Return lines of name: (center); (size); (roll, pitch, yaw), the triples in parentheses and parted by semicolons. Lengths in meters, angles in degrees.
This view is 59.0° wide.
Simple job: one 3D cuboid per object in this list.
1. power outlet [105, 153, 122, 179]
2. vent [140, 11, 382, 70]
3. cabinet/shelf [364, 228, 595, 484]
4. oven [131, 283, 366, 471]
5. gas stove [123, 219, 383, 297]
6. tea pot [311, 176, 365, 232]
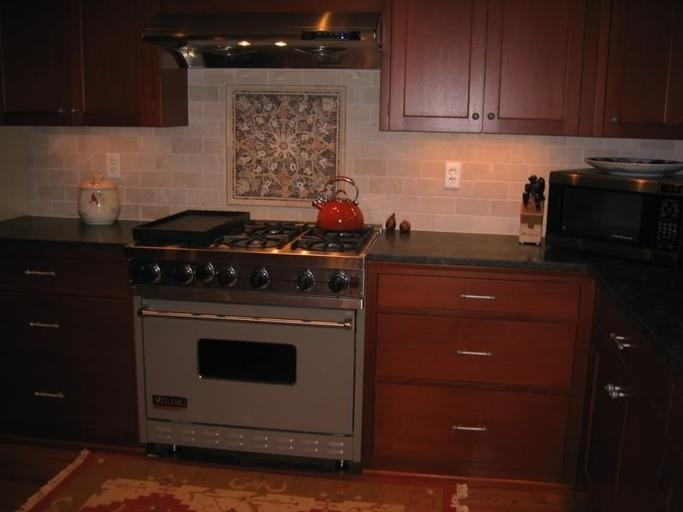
power outlet: (-1.374, -0.540, 3.652); (0.097, 0.143, 0.021); (3, 11, 17)
vent: (-0.385, -1.094, 3.080); (1.179, 0.254, 0.335); (1, 11, 6)
cabinet/shelf: (0.612, 0.316, 3.452); (1.420, 1.605, 1.062); (1, 11, 8)
oven: (-0.447, 0.322, 3.269); (1.327, 0.968, 0.811); (1, 6, 7)
gas stove: (-0.436, 0.010, 3.089); (1.180, 0.318, 0.455); (2, 11, 7)
tea pot: (0.002, -0.283, 3.331); (0.325, 0.320, 0.296); (3, 9, 0)
